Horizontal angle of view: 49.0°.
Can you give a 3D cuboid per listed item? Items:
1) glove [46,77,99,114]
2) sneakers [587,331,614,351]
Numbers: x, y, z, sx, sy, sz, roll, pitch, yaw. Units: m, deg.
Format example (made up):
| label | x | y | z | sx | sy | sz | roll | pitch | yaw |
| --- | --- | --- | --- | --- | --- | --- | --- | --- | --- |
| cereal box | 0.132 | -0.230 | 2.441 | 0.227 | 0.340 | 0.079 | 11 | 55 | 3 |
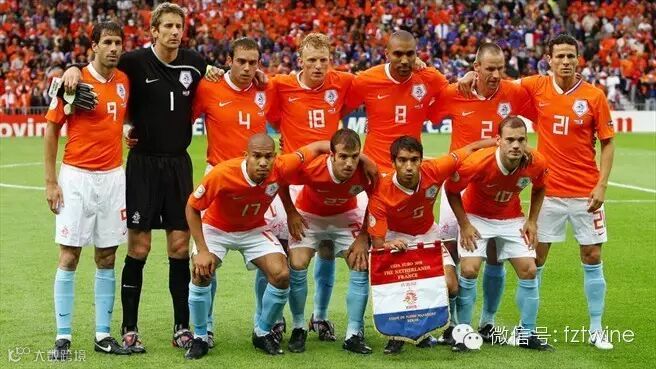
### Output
| label | x | y | z | sx | sy | sz | roll | pitch | yaw |
| --- | --- | --- | --- | --- | --- | --- | --- | --- | --- |
| glove | -3.996 | -1.370 | 11.256 | 0.743 | 0.573 | 0.203 | -1 | 3 | -9 |
| sneakers | 4.354 | 2.465 | 11.483 | 0.388 | 0.259 | 0.243 | 0 | 3 | 10 |
